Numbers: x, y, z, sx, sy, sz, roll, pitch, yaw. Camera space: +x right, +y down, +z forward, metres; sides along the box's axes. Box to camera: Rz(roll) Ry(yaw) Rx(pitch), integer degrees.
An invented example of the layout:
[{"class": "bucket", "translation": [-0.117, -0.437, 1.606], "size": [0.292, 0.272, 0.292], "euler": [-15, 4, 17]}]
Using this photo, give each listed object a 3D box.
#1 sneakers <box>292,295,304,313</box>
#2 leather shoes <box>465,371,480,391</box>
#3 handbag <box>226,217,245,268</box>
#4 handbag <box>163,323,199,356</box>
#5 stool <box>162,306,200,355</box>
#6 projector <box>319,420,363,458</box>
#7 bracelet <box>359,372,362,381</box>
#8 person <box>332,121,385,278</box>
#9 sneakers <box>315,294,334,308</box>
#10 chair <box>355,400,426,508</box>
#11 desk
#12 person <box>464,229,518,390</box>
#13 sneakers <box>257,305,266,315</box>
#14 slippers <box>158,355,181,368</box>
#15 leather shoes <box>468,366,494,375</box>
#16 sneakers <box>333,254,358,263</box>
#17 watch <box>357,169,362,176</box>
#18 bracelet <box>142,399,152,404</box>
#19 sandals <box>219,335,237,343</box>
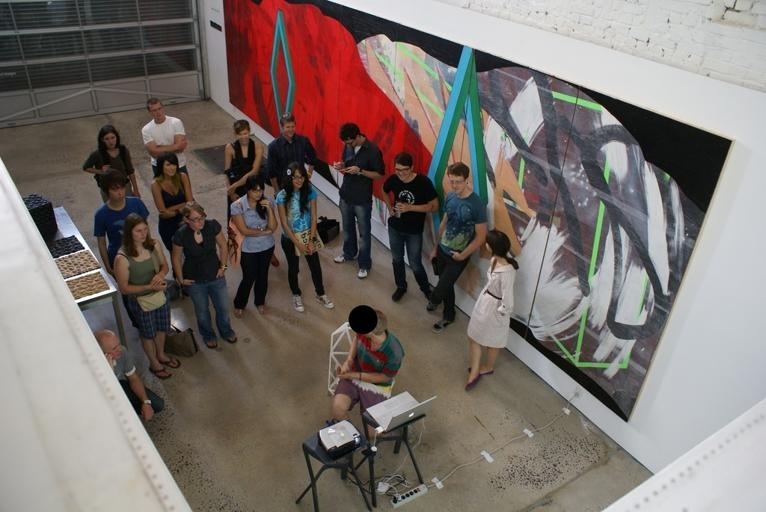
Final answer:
[{"class": "sneakers", "translation": [-1.103, 0.609, 6.470], "size": [0.081, 0.103, 0.258], "euler": [-14, 48, -15]}, {"class": "leather shoes", "translation": [0.986, 1.398, 5.597], "size": [0.066, 0.253, 0.090], "euler": [20, 15, -48]}, {"class": "handbag", "translation": [-1.739, -0.146, 5.915], "size": [0.167, 0.572, 0.193], "euler": [0, 18, 13]}, {"class": "handbag", "translation": [-2.314, 0.959, 5.718], "size": [0.297, 0.232, 0.171], "euler": [17, 46, 15]}, {"class": "stool", "translation": [-2.336, 0.870, 5.793], "size": [0.404, 0.446, 0.182], "euler": [21, 47, 22]}, {"class": "projector", "translation": [-0.370, 1.533, 4.272], "size": [0.344, 0.121, 0.253], "euler": [-16, 35, -23]}, {"class": "bracelet", "translation": [-0.228, 1.134, 4.755], "size": [0.015, 0.040, 0.044], "euler": [9, 33, 2]}, {"class": "person", "translation": [-0.352, -0.792, 6.858], "size": [0.633, 2.036, 0.604], "euler": [21, 36, 34]}, {"class": "sneakers", "translation": [-0.759, 0.584, 6.571], "size": [0.102, 0.122, 0.289], "euler": [-39, 56, -19]}, {"class": "chair", "translation": [0.044, 1.838, 4.657], "size": [0.443, 0.851, 0.582], "euler": [-19, 51, -21]}, {"class": "desk", "translation": [-2.554, 0.172, 4.370], "size": [0.451, 0.738, 1.506], "euler": [-17, 56, -18]}, {"class": "person", "translation": [1.129, 0.610, 5.403], "size": [0.414, 1.689, 0.681], "euler": [24, 38, 37]}, {"class": "sneakers", "translation": [-1.534, 0.682, 6.383], "size": [0.126, 0.086, 0.074], "euler": [28, 46, -32]}, {"class": "slippers", "translation": [-2.405, 1.168, 5.661], "size": [0.214, 0.059, 0.123], "euler": [21, 43, -2]}, {"class": "leather shoes", "translation": [1.081, 1.304, 5.718], "size": [0.305, 0.135, 0.124], "euler": [1, 58, -3]}, {"class": "sneakers", "translation": [-0.562, 0.056, 7.277], "size": [0.358, 0.155, 0.137], "euler": [0, 62, -7]}, {"class": "watch", "translation": [-0.324, -1.080, 6.543], "size": [0.049, 0.076, 0.021], "euler": [-2, 67, -2]}, {"class": "bracelet", "translation": [-2.300, 1.418, 4.919], "size": [0.057, 0.060, 0.042], "euler": [15, 59, -41]}, {"class": "sandals", "translation": [-1.822, 0.968, 5.955], "size": [0.139, 0.057, 0.080], "euler": [13, 42, 16]}]
